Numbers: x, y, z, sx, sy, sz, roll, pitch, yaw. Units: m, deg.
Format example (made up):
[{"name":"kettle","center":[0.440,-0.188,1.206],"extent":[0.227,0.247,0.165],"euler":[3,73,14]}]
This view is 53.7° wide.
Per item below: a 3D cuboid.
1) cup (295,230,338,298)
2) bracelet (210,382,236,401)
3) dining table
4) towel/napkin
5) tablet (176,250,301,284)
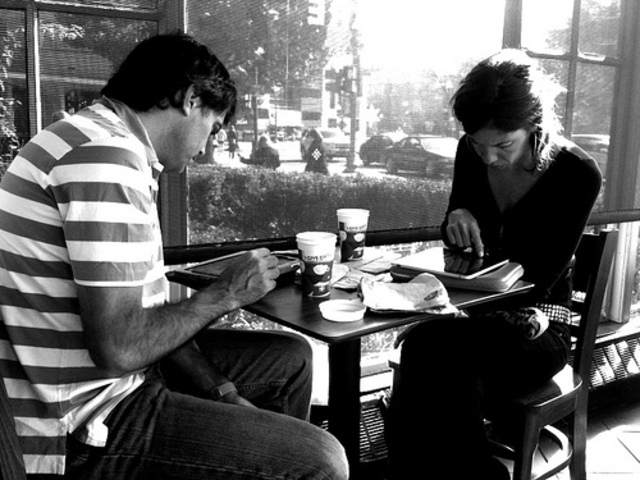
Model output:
[{"name":"cup","center":[-0.016,0.072,1.888],"extent":[0.167,0.228,0.169],"euler":[0,6,0]},{"name":"bracelet","center":[-0.298,0.461,1.937],"extent":[0.062,0.045,0.069],"euler":[-21,-4,23]},{"name":"dining table","center":[0.065,0.311,2.111],"extent":[0.757,0.728,0.748],"euler":[-4,8,-42]},{"name":"towel/napkin","center":[0.240,0.163,1.831],"extent":[0.165,0.051,0.166],"euler":[1,13,-11]},{"name":"tablet","center":[-0.259,0.086,2.000],"extent":[0.315,0.032,0.269],"euler":[-16,22,-40]}]
